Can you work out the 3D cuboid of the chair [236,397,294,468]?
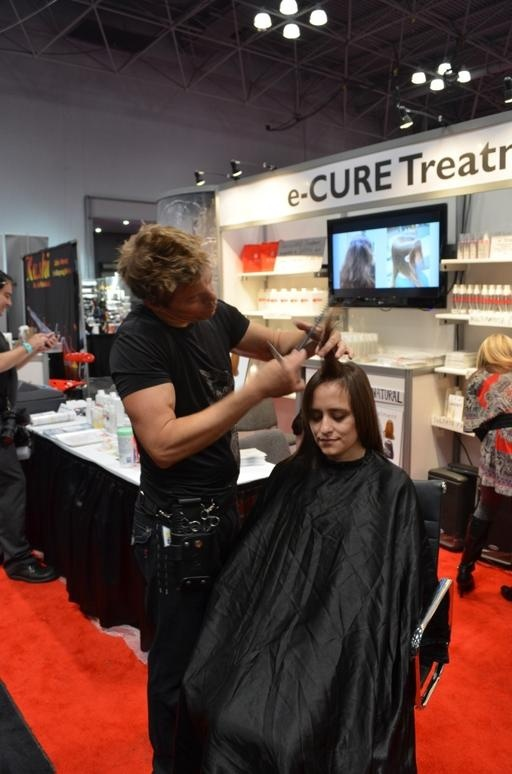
[{"bbox_3d":[0.055,0.249,2.903,0.288,0.525,0.317,-8,-6,5],"label":"chair"}]

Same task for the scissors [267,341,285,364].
[{"bbox_3d":[0.043,-0.070,1.114,0.012,0.021,0.092,24,23,-21],"label":"scissors"}]

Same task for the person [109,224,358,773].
[{"bbox_3d":[-0.066,0.372,1.277,0.513,1.444,0.570,-1,2,-1],"label":"person"}]

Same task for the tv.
[{"bbox_3d":[0.935,-0.917,3.641,0.081,0.761,1.043,-10,12,-42],"label":"tv"}]

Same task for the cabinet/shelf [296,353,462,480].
[{"bbox_3d":[0.862,0.175,3.951,0.686,1.256,1.224,-2,2,-39],"label":"cabinet/shelf"}]

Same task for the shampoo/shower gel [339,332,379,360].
[{"bbox_3d":[0.659,-0.259,3.330,0.231,0.138,0.312,-2,13,-10],"label":"shampoo/shower gel"}]

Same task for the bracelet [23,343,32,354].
[{"bbox_3d":[-1.179,-0.206,2.741,0.037,0.058,0.122,-2,3,-21],"label":"bracelet"}]

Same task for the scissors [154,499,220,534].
[{"bbox_3d":[-0.150,0.296,1.213,0.108,0.087,0.040,-1,15,-17],"label":"scissors"}]

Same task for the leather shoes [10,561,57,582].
[{"bbox_3d":[-1.192,0.973,2.830,0.236,0.109,0.110,0,-3,2],"label":"leather shoes"}]
